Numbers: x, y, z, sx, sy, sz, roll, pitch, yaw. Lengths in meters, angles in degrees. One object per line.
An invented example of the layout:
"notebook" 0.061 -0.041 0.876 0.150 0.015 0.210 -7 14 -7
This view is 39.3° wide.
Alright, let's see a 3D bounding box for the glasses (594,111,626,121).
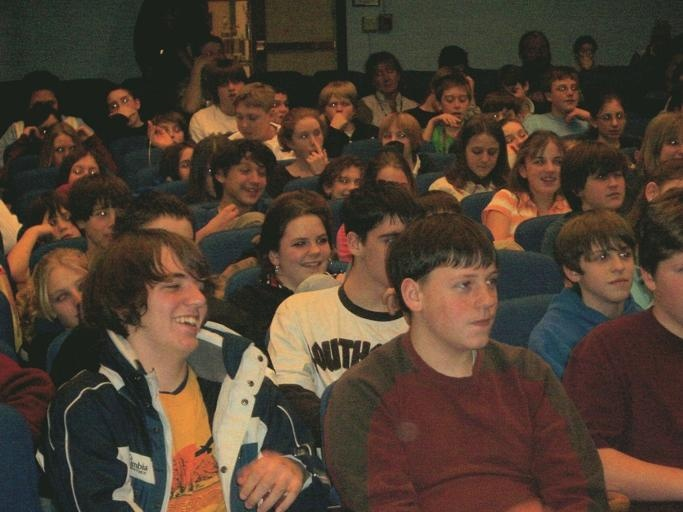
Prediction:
"glasses" 1.516 -0.798 5.395 0.093 0.030 0.092 -4 4 4
